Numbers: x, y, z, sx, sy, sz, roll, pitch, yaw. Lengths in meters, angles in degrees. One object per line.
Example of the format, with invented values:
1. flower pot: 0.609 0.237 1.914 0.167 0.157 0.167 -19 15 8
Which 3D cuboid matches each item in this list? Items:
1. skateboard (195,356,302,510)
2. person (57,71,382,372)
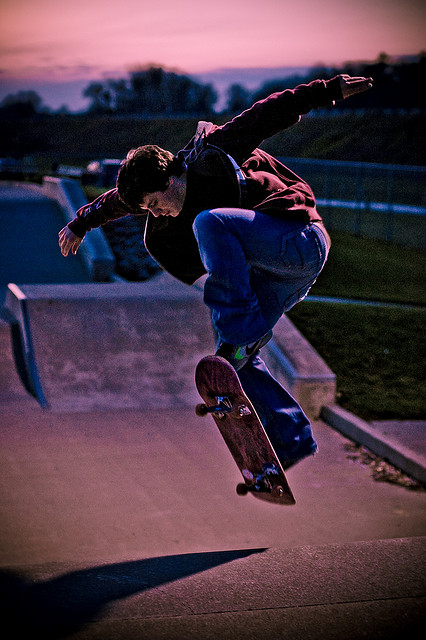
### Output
1. skateboard: 0.190 0.497 3.548 0.290 0.863 0.123 -3 40 38
2. person: 0.009 -0.294 3.558 1.576 1.001 0.865 -15 -20 43
